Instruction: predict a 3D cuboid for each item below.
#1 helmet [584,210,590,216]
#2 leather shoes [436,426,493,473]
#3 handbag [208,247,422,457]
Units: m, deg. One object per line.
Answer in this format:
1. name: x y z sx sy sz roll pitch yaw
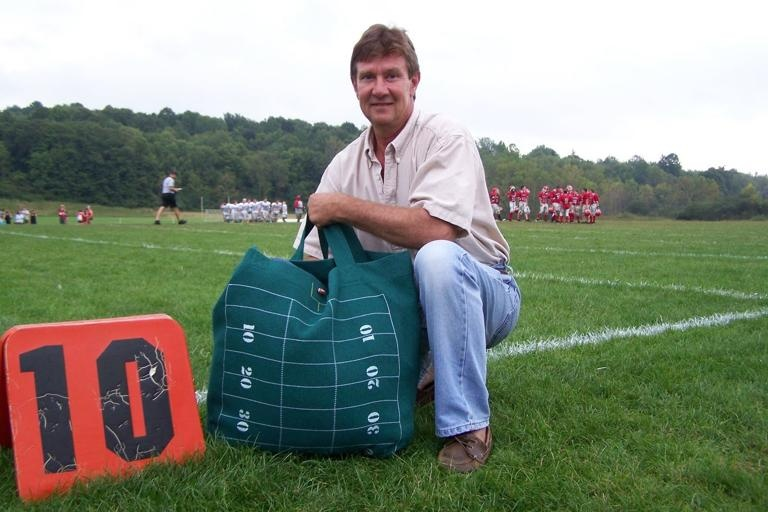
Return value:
1. helmet: 9.145 -1.926 27.727 0.256 0.211 0.297 -1 5 13
2. leather shoes: 0.353 0.835 2.687 0.226 0.150 0.178 1 4 7
3. handbag: -0.298 0.384 2.886 1.011 0.977 0.567 0 1 10
